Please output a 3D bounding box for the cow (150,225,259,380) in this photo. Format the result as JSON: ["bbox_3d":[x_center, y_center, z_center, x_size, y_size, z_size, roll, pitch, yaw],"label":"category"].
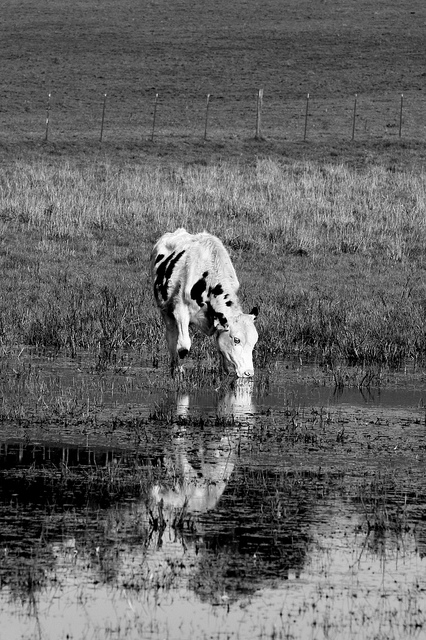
[{"bbox_3d":[-0.192,-0.044,14.464,0.546,1.702,1.926,7,1,-38],"label":"cow"}]
